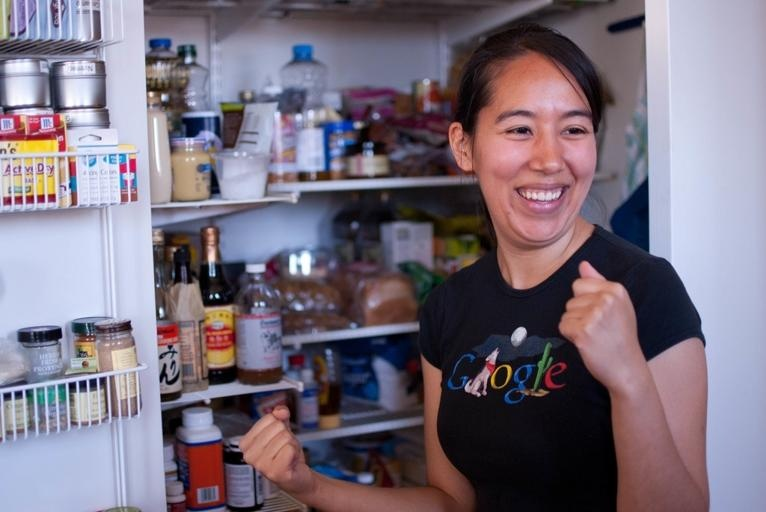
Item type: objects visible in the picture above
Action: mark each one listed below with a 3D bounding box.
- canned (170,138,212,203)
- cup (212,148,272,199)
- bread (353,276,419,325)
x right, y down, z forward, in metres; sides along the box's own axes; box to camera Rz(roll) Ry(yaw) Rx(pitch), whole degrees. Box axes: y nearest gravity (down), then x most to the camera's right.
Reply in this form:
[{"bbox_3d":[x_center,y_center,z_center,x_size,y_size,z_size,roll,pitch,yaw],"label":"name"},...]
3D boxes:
[{"bbox_3d":[-0.539,-0.252,1.897,0.148,0.162,0.125,-5,11,-18],"label":"canned"},{"bbox_3d":[-0.410,-0.242,1.935,0.148,0.108,0.151,0,5,0],"label":"cup"},{"bbox_3d":[-0.024,0.142,2.369,0.061,0.162,0.180,1,-1,-43],"label":"bread"}]
